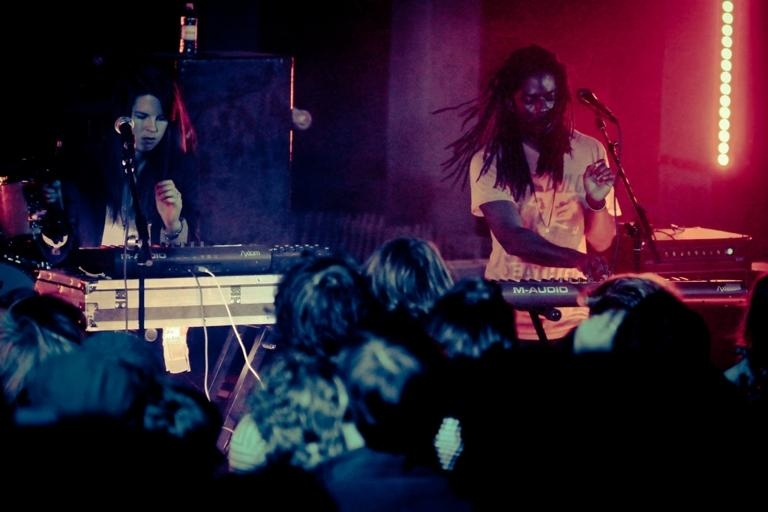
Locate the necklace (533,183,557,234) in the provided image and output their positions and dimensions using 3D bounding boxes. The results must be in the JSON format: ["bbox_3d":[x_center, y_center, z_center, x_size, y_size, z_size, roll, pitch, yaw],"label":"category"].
[{"bbox_3d":[0.937,-0.260,4.221,0.119,0.247,0.036,1,4,12],"label":"necklace"}]

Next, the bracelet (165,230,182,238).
[{"bbox_3d":[-1.190,-0.121,4.112,0.049,0.036,0.048,1,-3,-6],"label":"bracelet"}]

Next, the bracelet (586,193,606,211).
[{"bbox_3d":[1.187,-0.300,4.090,0.106,0.092,0.083,1,4,13],"label":"bracelet"}]

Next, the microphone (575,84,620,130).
[{"bbox_3d":[1.118,-0.781,3.837,0.193,0.167,0.229,2,4,15],"label":"microphone"}]
